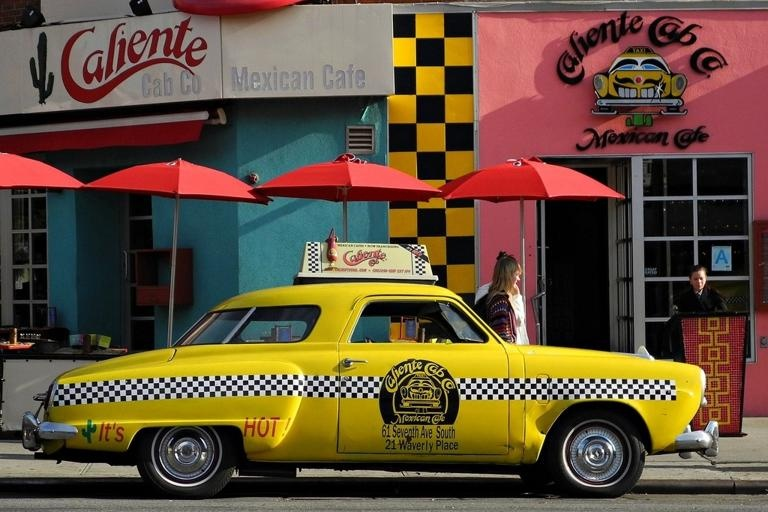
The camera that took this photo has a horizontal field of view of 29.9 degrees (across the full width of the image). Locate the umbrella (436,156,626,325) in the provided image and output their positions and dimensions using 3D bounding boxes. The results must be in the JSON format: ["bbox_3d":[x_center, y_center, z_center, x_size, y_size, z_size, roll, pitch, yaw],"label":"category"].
[{"bbox_3d":[1.964,-0.391,19.355,1.971,1.136,1.916,3,-3,-30],"label":"umbrella"}]

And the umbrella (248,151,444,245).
[{"bbox_3d":[-0.516,-1.003,19.910,1.727,1.037,1.595,1,-5,-5],"label":"umbrella"}]
